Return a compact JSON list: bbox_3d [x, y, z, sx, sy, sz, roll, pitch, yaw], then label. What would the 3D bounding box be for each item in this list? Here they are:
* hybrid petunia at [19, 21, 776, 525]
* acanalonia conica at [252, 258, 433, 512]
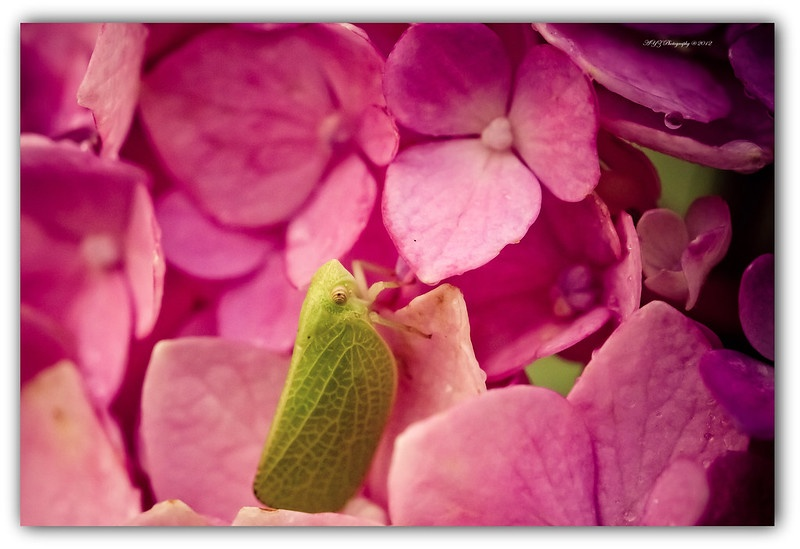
[{"bbox_3d":[-0.008,-0.001,1.197,1.211,0.890,0.128,7,6,0],"label":"hybrid petunia"},{"bbox_3d":[-0.102,0.165,1.177,0.194,0.370,0.075,6,6,-10],"label":"acanalonia conica"}]
